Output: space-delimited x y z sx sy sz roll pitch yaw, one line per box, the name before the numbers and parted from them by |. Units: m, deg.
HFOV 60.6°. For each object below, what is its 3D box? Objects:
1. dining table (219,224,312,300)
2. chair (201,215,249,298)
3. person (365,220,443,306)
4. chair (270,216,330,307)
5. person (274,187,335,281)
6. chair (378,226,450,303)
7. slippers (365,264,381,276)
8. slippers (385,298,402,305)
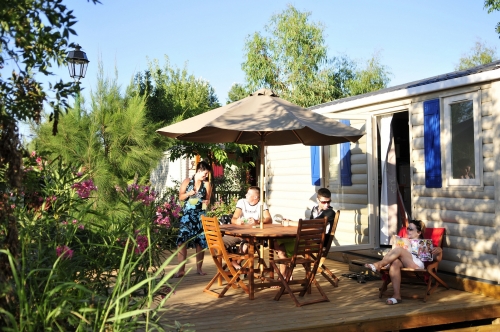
dining table | 0.386 1.279 6.237 0.981 0.737 1.067 -14 -7 34
chair | -0.323 1.308 6.285 0.666 1.068 0.479 4 -5 -39
person | 2.211 1.375 6.304 1.153 1.201 0.782 3 -9 -9
chair | 0.713 1.356 6.113 0.755 1.158 0.686 -5 -8 40
person | 0.831 1.124 6.879 1.098 1.687 0.992 4 -1 -17
chair | 2.294 1.349 6.312 1.079 1.167 0.891 -2 -2 -13
slippers | 1.872 1.566 6.496 0.206 0.144 0.559 35 -2 26
slippers | 1.965 1.838 5.870 0.171 0.050 0.084 11 -13 -44
